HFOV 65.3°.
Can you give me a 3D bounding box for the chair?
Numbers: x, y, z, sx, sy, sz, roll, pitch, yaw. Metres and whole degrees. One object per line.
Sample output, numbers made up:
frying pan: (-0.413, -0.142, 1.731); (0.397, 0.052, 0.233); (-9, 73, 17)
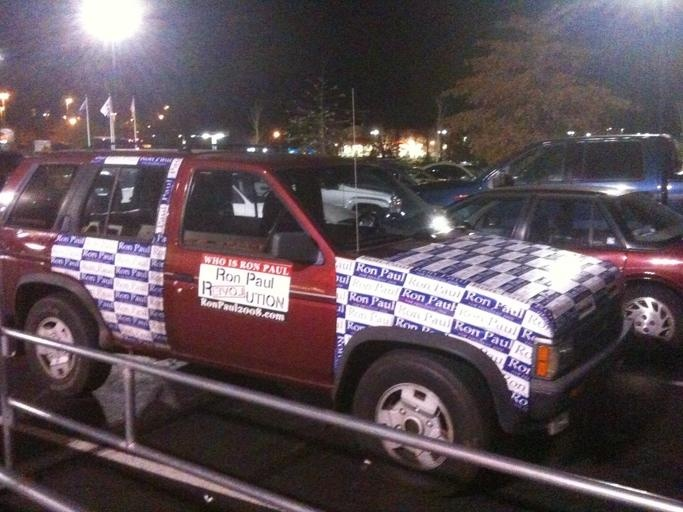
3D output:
chair: (-1.338, -0.448, 4.913); (1.758, 0.792, 0.860); (1, 15, 13)
